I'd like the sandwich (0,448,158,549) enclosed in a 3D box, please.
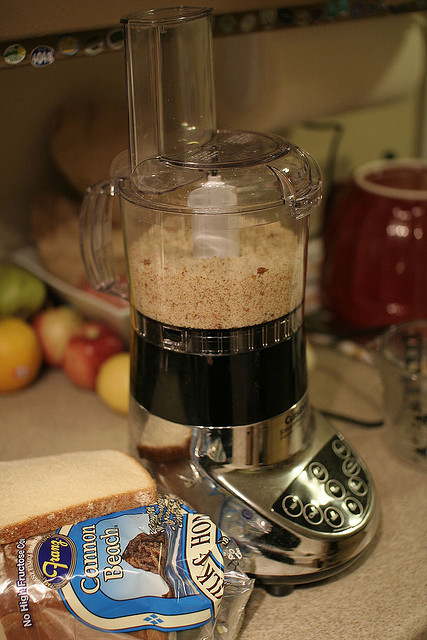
[{"bbox_3d":[-0.113,0.133,0.509,0.123,0.030,0.122,-10,27,-16],"label":"sandwich"}]

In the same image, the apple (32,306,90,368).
[{"bbox_3d":[-0.145,0.015,0.599,0.049,0.054,0.047,9,15,33],"label":"apple"}]

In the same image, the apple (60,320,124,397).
[{"bbox_3d":[-0.125,0.035,0.614,0.062,0.054,0.060,-2,20,-19],"label":"apple"}]
